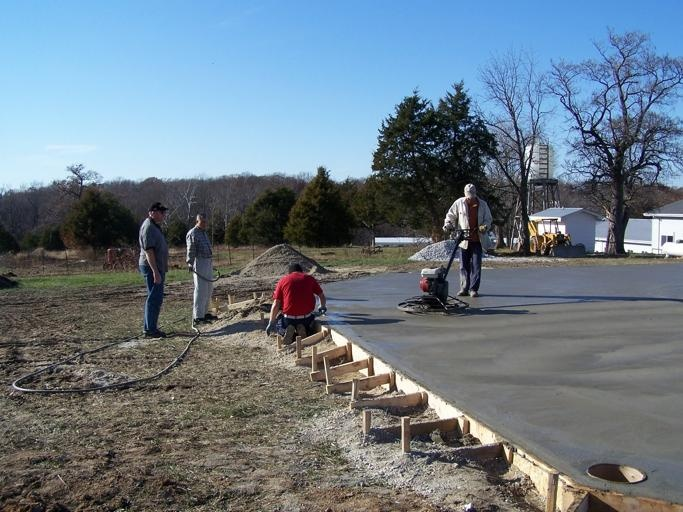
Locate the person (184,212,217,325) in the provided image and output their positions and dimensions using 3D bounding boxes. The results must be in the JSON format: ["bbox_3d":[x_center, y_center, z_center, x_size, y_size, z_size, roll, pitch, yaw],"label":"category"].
[{"bbox_3d":[-2.215,0.110,9.207,0.383,1.632,1.724,-5,9,-13],"label":"person"}]

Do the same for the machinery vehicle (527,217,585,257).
[{"bbox_3d":[9.305,-0.993,26.258,1.308,1.836,4.004,2,5,-7],"label":"machinery vehicle"}]

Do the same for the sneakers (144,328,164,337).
[{"bbox_3d":[-2.526,1.028,7.945,0.267,0.136,0.113,1,0,-5],"label":"sneakers"}]

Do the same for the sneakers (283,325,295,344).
[{"bbox_3d":[-0.618,0.928,6.928,0.105,0.235,0.091,16,-14,-15],"label":"sneakers"}]

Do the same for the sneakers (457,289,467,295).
[{"bbox_3d":[1.868,0.553,9.000,0.159,0.067,0.070,-22,43,-35],"label":"sneakers"}]

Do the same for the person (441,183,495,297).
[{"bbox_3d":[1.925,-0.213,8.836,0.674,1.714,0.955,0,9,14],"label":"person"}]

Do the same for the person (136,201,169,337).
[{"bbox_3d":[-2.634,0.175,8.249,0.462,1.904,1.232,-6,9,-19],"label":"person"}]

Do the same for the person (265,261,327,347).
[{"bbox_3d":[-0.569,0.529,7.183,0.609,0.903,0.712,3,11,34],"label":"person"}]

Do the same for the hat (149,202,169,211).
[{"bbox_3d":[-2.451,-0.662,7.804,0.241,0.150,0.165,-1,8,-2],"label":"hat"}]

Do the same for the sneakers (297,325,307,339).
[{"bbox_3d":[-0.465,0.891,6.993,0.077,0.155,0.055,-9,11,-16],"label":"sneakers"}]
